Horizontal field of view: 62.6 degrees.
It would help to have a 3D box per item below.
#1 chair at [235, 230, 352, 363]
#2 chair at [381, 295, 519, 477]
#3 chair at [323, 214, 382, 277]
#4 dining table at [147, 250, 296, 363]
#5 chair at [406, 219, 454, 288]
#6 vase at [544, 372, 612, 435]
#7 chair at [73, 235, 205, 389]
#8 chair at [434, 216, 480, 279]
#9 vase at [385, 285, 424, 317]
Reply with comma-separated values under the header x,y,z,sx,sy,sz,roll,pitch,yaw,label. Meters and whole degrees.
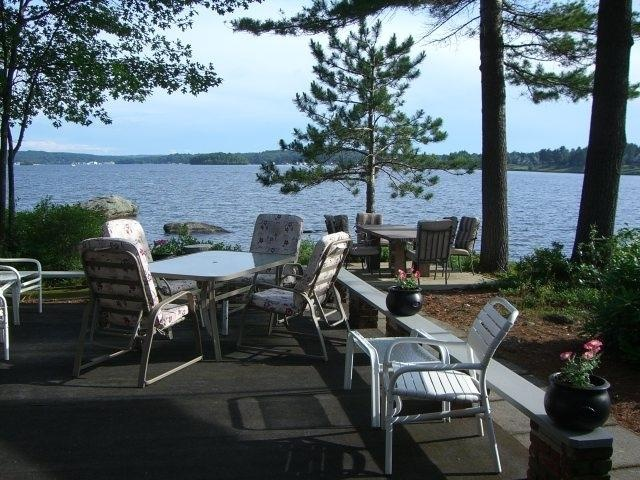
x,y,z,sx,sy,sz,roll,pitch,yaw,label
0.045,0.505,5.905,1.709,1.326,1.227,2,3,16,chair
0.889,0.936,3.801,0.855,1.121,1.056,4,12,10,chair
0.746,0.073,10.310,1.022,0.955,0.764,6,5,-1,chair
-1.176,0.553,5.781,1.033,0.618,1.535,6,9,18,dining table
1.947,0.179,9.261,0.672,1.149,0.911,4,12,11,chair
1.588,0.986,3.241,0.382,0.239,0.352,4,6,29,vase
-1.789,0.581,4.937,1.073,1.318,1.305,-5,13,-29,chair
2.497,0.089,10.093,1.100,0.938,0.919,3,9,17,chair
0.853,0.591,5.247,0.429,0.223,0.408,3,5,35,vase
